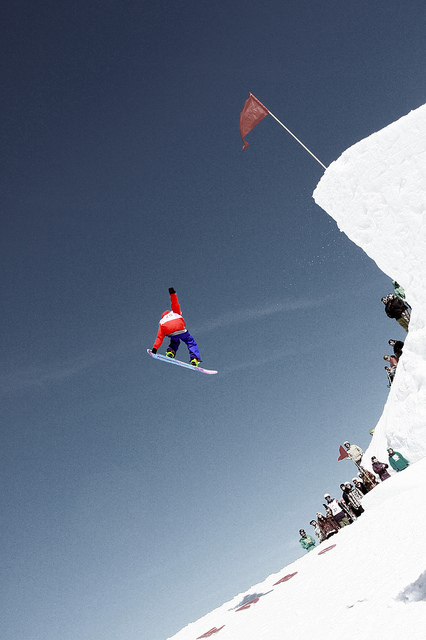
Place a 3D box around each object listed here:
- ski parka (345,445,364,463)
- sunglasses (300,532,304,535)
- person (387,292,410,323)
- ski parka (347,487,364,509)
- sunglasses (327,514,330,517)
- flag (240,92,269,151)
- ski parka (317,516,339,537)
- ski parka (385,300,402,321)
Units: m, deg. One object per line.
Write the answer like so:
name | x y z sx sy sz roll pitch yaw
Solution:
ski parka | 5.444 5.116 23.854 0.480 0.792 0.447 -30 -40 -3
sunglasses | 3.268 7.848 22.927 0.056 0.092 0.117 11 -57 -40
person | 7.710 -0.502 25.634 0.387 1.008 0.730 -34 -18 6
ski parka | 4.497 5.551 19.590 0.266 0.478 0.470 -49 -29 -17
sunglasses | 3.903 6.566 20.976 0.104 0.026 0.111 -21 -14 36
flag | 1.592 -7.883 24.325 1.476 3.414 0.300 -19 -40 23
ski parka | 3.896 6.992 21.139 0.218 0.713 0.694 23 -57 -32
ski parka | 7.378 -0.424 25.235 0.417 0.724 0.574 -19 -9 10
